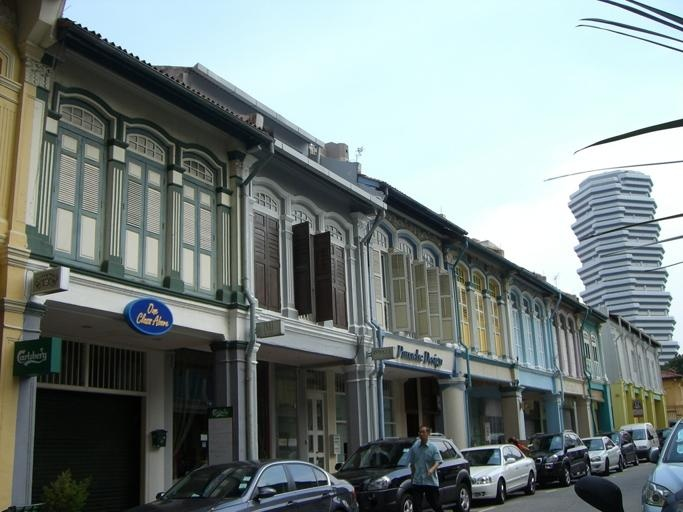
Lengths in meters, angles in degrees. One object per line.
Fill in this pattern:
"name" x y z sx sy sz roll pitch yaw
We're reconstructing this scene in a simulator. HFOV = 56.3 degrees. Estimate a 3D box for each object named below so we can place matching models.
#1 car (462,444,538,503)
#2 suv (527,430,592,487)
"car" 4.553 6.316 18.742 1.404 1.013 2.905 -14 -28 28
"suv" 7.651 7.137 22.649 1.605 1.869 3.095 -15 -22 28
